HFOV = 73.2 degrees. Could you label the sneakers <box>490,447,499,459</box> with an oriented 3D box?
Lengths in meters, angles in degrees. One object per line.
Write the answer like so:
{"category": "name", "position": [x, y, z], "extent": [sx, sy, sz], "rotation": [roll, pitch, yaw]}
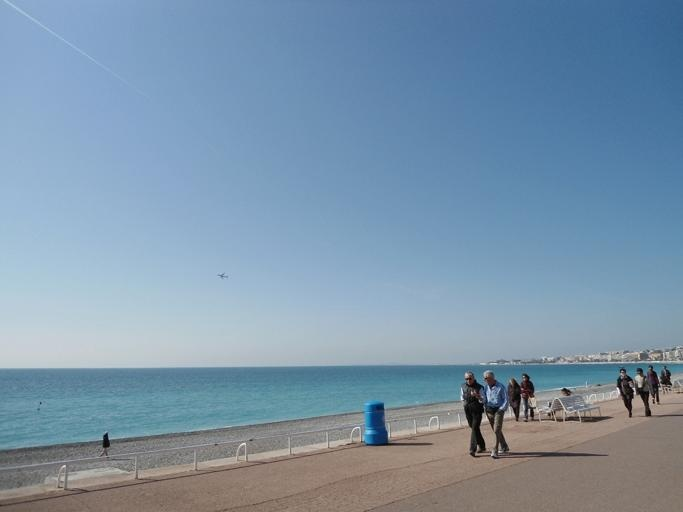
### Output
{"category": "sneakers", "position": [4.533, 5.871, 13.515], "extent": [0.188, 0.220, 0.526], "rotation": [-1, -40, 8]}

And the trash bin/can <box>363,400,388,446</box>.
{"category": "trash bin/can", "position": [1.236, 5.944, 16.303], "extent": [0.857, 1.486, 0.937], "rotation": [-2, -14, 3]}

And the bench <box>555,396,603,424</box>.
{"category": "bench", "position": [10.486, 6.847, 20.786], "extent": [1.357, 1.016, 3.883], "rotation": [-10, -17, 28]}

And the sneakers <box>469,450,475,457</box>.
{"category": "sneakers", "position": [3.941, 5.983, 13.835], "extent": [0.150, 0.129, 0.150], "rotation": [-8, -10, 29]}

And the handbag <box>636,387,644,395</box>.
{"category": "handbag", "position": [13.372, 6.086, 20.587], "extent": [0.211, 0.273, 0.851], "rotation": [-8, -16, 23]}

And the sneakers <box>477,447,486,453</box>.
{"category": "sneakers", "position": [4.384, 6.058, 14.305], "extent": [0.402, 0.167, 0.140], "rotation": [6, -20, -27]}
